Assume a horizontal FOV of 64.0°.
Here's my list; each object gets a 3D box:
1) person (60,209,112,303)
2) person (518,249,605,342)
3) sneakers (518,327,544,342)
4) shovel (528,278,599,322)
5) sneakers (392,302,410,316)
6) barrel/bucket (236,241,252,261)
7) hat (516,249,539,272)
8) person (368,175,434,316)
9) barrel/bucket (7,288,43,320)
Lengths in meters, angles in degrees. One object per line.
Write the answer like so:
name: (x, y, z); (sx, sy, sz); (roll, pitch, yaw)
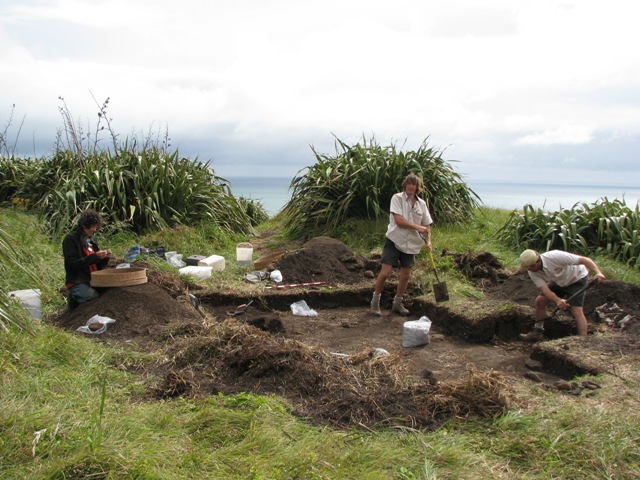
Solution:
person: (-2.891, 0.220, 6.320); (0.519, 1.184, 0.574); (-1, 7, -26)
person: (2.838, 0.690, 6.141); (0.889, 1.064, 0.726); (-1, 1, 21)
sneakers: (2.577, 1.154, 6.298); (0.332, 0.218, 0.126); (5, 5, 16)
shovel: (2.972, 0.734, 6.193); (0.128, 0.750, 0.134); (45, 35, 3)
sneakers: (1.110, 0.956, 7.078); (0.316, 0.204, 0.113); (0, 3, 8)
barrel/bucket: (-1.331, 0.207, 8.969); (0.301, 0.302, 0.292); (1, -2, 0)
hat: (2.484, 0.220, 6.089); (0.197, 0.270, 0.154); (17, -10, 37)
person: (1.103, 0.086, 6.837); (0.731, 1.918, 0.432); (3, 7, 6)
barrel/bucket: (-3.114, 0.672, 5.397); (0.294, 0.359, 0.732); (-1, 7, -31)
